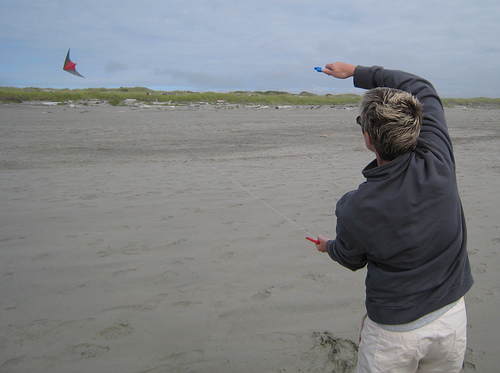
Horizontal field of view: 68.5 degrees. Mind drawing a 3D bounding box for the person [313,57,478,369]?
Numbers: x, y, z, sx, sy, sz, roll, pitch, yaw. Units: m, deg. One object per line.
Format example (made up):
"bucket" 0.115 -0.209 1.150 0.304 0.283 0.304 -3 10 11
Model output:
"person" 0.934 0.165 2.363 0.804 1.849 0.805 -3 13 -10
